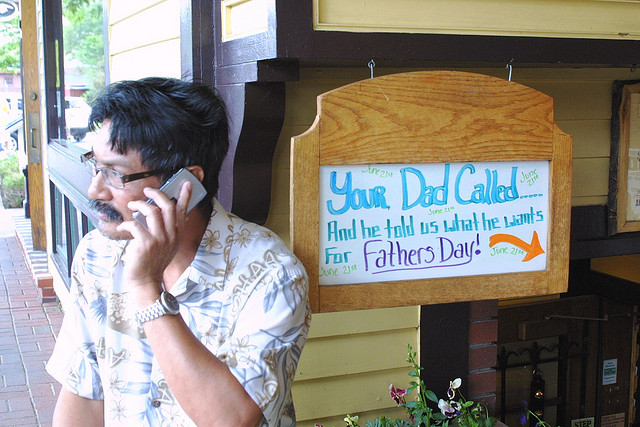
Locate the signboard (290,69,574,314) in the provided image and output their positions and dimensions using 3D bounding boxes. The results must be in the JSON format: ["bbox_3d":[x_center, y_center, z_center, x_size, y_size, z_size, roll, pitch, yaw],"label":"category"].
[{"bbox_3d":[0.562,-0.095,2.920,1.515,1.068,0.064,-2,6,-20],"label":"signboard"}]
